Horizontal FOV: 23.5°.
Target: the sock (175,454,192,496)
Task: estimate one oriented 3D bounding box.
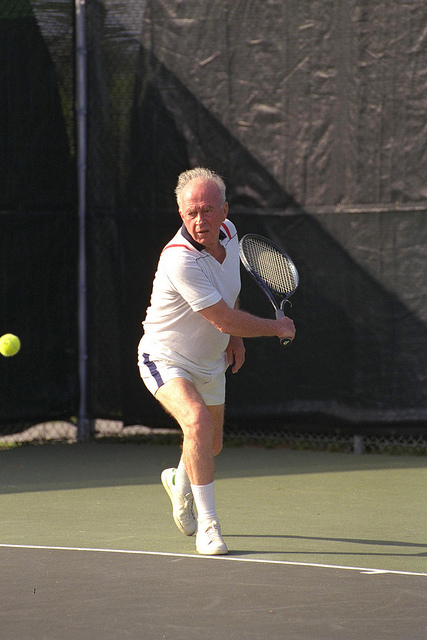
[{"bbox_3d":[-0.127,0.613,4.072,0.053,0.153,0.067,13,-34,-1],"label":"sock"}]

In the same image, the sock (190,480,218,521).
[{"bbox_3d":[-0.042,0.664,3.782,0.085,0.143,0.126,0,2,-1],"label":"sock"}]

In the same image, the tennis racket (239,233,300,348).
[{"bbox_3d":[0.291,-0.107,4.644,0.248,0.043,0.626,10,-40,23],"label":"tennis racket"}]

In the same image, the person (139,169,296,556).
[{"bbox_3d":[-0.007,0.126,3.908,0.389,1.416,0.537,-1,2,-32],"label":"person"}]
